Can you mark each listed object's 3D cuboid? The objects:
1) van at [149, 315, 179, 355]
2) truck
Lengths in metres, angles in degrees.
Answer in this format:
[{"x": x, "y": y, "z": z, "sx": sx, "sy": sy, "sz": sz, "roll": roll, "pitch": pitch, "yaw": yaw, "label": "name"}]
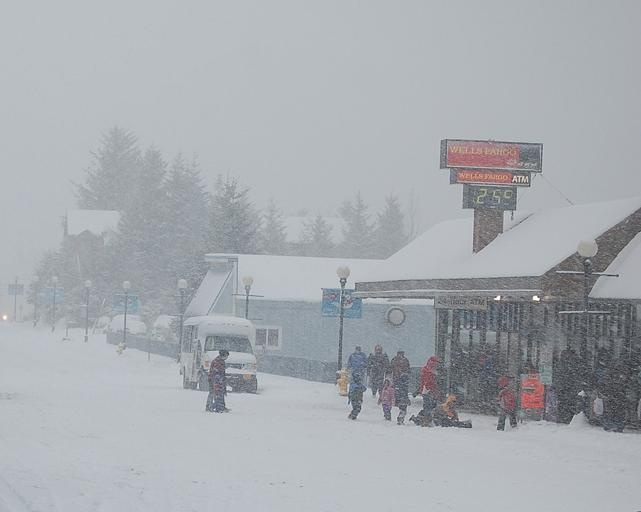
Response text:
[{"x": -10.410, "y": 5.318, "z": 76.774, "sx": 1.637, "sy": 1.836, "sz": 1.256, "roll": 2, "pitch": 6, "yaw": 11, "label": "van"}, {"x": -3.595, "y": 3.456, "z": 41.626, "sx": 1.935, "sy": 2.004, "sz": 3.552, "roll": 2, "pitch": -7, "yaw": -16, "label": "truck"}]
